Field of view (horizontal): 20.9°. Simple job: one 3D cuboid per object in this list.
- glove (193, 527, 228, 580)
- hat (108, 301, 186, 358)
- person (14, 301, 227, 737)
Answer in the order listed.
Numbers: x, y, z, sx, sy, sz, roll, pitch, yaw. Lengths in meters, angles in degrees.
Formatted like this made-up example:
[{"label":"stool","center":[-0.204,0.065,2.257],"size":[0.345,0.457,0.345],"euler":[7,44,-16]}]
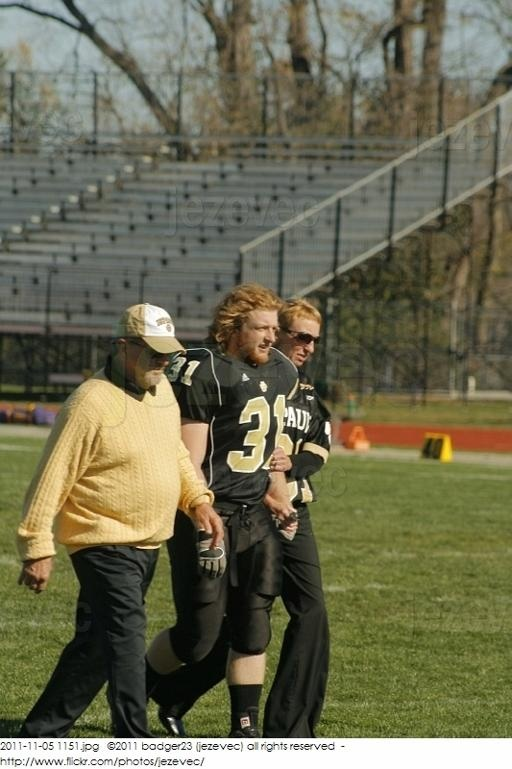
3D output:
[{"label":"glove","center":[-0.161,0.614,4.925],"size":[0.114,0.155,0.067],"euler":[1,1,5]},{"label":"hat","center":[-0.364,-0.207,4.800],"size":[0.259,0.152,0.169],"euler":[18,12,38]},{"label":"person","center":[-0.532,0.474,4.734],"size":[0.557,1.513,0.311],"euler":[3,4,-18]}]
